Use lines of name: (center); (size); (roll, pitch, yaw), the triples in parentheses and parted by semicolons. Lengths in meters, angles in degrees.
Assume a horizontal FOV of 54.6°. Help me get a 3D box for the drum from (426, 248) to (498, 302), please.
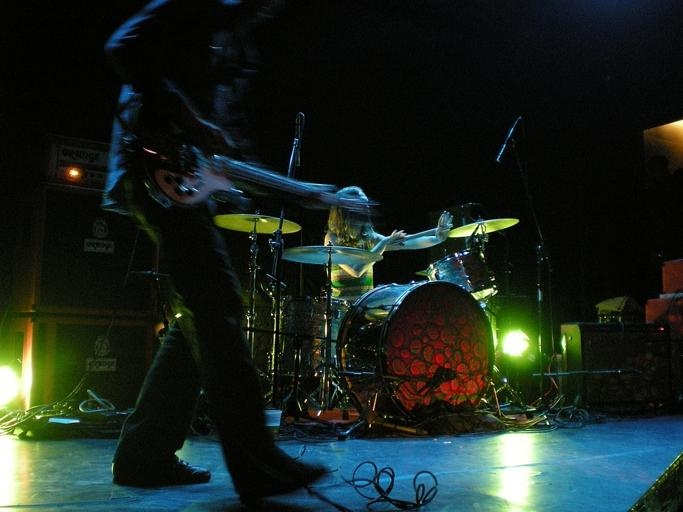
drum: (1.068, 0.189, 6.033); (0.714, 0.470, 0.646); (-6, 0, -19)

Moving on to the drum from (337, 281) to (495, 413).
drum: (0.597, 0.833, 5.398); (1.219, 1.017, 0.711); (8, -11, -32)

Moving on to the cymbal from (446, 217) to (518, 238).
cymbal: (1.391, -0.275, 6.404); (0.369, 0.075, 0.353); (-5, -14, -34)

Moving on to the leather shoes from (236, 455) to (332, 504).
leather shoes: (-0.281, 1.038, 3.081); (0.442, 0.232, 0.106); (6, -14, -22)

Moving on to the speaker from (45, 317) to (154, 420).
speaker: (-2.016, 0.926, 5.373); (0.827, 0.687, 0.275); (6, -10, -30)

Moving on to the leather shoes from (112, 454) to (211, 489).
leather shoes: (-0.946, 1.149, 3.563); (0.558, 0.195, 0.178); (2, -7, -17)
